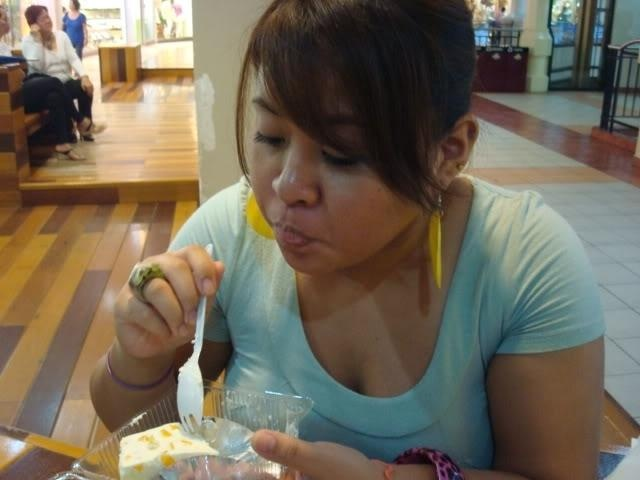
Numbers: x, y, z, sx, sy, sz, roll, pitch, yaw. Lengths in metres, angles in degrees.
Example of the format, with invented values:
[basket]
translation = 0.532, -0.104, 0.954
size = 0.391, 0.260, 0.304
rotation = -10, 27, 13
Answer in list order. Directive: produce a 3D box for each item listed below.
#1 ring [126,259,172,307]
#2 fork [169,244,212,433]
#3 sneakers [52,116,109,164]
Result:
[ring]
translation = -0.322, 0.077, 0.889
size = 0.052, 0.033, 0.086
rotation = -1, 88, 3
[fork]
translation = -0.221, 0.181, 0.882
size = 0.036, 0.037, 0.304
rotation = -2, 65, 11
[sneakers]
translation = -2.689, -1.116, 5.462
size = 0.202, 0.193, 0.678
rotation = 26, 69, 8
